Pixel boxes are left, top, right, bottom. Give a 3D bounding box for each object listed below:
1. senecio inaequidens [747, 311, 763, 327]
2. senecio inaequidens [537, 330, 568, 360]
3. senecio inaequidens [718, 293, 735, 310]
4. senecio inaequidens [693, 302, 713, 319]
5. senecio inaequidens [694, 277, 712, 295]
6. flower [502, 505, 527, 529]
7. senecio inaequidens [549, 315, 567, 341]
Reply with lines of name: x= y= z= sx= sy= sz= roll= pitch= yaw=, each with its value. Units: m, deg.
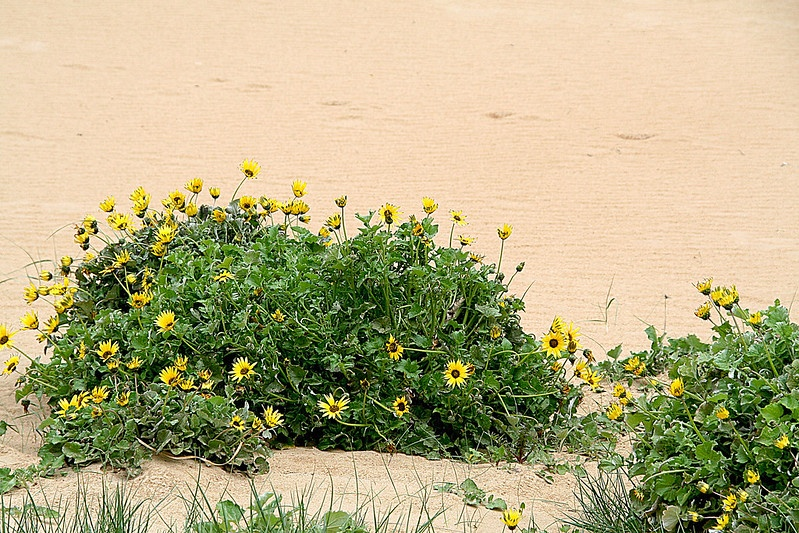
senecio inaequidens: x=3.390 y=0.487 z=14.714 sx=0.137 sy=0.147 sz=0.131 roll=-15 pitch=5 yaw=-6
senecio inaequidens: x=1.538 y=0.782 z=15.475 sx=0.253 sy=0.267 sz=0.482 roll=2 pitch=0 yaw=5
senecio inaequidens: x=3.121 y=0.324 z=14.774 sx=0.137 sy=0.158 sz=0.108 roll=3 pitch=0 yaw=4
senecio inaequidens: x=3.099 y=0.442 z=15.876 sx=0.166 sy=0.102 sz=0.160 roll=-39 pitch=16 yaw=4
senecio inaequidens: x=3.156 y=0.199 z=16.141 sx=0.160 sy=0.098 sz=0.184 roll=-20 pitch=14 yaw=8
flower: x=1.089 y=2.346 z=14.612 sx=0.244 sy=0.157 sz=0.213 roll=-3 pitch=-14 yaw=-18
senecio inaequidens: x=1.544 y=0.599 z=15.377 sx=0.183 sy=0.183 sz=0.112 roll=-30 pitch=24 yaw=-32
